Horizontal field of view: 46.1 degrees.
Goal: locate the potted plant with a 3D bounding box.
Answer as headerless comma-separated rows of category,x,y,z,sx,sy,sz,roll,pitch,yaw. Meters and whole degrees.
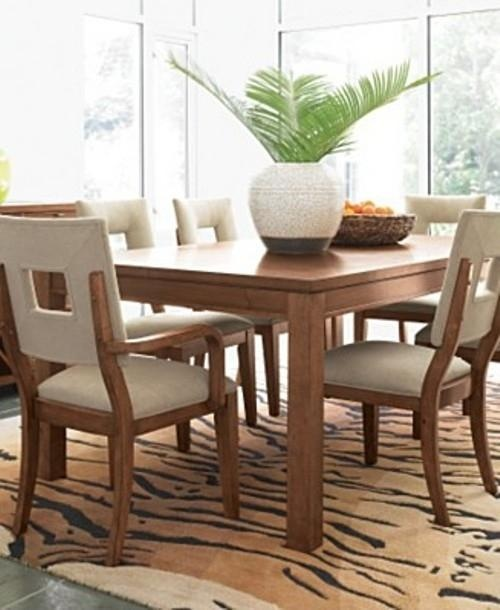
potted plant,0.084,-0.554,2.098,0.858,0.583,0.864,5,9,35
